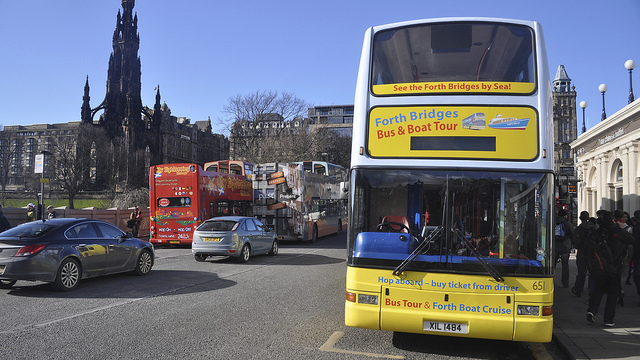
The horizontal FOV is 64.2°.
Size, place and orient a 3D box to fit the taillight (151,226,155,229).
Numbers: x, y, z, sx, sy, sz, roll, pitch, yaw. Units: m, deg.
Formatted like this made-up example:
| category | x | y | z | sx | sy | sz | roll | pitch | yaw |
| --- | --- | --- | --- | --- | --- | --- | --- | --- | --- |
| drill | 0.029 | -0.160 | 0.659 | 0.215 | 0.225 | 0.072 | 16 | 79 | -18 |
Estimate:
| category | x | y | z | sx | sy | sz | roll | pitch | yaw |
| --- | --- | --- | --- | --- | --- | --- | --- | --- | --- |
| taillight | -9.148 | 2.613 | 28.062 | 0.181 | 0.176 | 0.041 | 3 | -5 | -9 |

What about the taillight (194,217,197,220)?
| category | x | y | z | sx | sy | sz | roll | pitch | yaw |
| --- | --- | --- | --- | --- | --- | --- | --- | --- | --- |
| taillight | -6.667 | 2.111 | 27.466 | 0.158 | 0.156 | 0.084 | 4 | 21 | 5 |

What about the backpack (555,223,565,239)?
| category | x | y | z | sx | sy | sz | roll | pitch | yaw |
| --- | --- | --- | --- | --- | --- | --- | --- | --- | --- |
| backpack | 7.871 | 1.683 | 16.760 | 0.550 | 0.518 | 0.139 | -2 | 5 | -37 |

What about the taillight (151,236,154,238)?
| category | x | y | z | sx | sy | sz | roll | pitch | yaw |
| --- | --- | --- | --- | --- | --- | --- | --- | --- | --- |
| taillight | -9.204 | 3.151 | 28.189 | 0.177 | 0.095 | 0.120 | 5 | -1 | 14 |

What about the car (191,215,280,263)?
| category | x | y | z | sx | sy | sz | roll | pitch | yaw |
| --- | --- | --- | --- | --- | --- | --- | --- | --- | --- |
| car | -3.534 | 2.570 | 22.606 | 1.503 | 1.910 | 3.658 | 4 | 5 | 40 |

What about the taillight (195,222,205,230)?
| category | x | y | z | sx | sy | sz | roll | pitch | yaw |
| --- | --- | --- | --- | --- | --- | --- | --- | --- | --- |
| taillight | -5.233 | 1.974 | 22.226 | 0.354 | 0.275 | 0.603 | -1 | 4 | -24 |

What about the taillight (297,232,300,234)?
| category | x | y | z | sx | sy | sz | roll | pitch | yaw |
| --- | --- | --- | --- | --- | --- | --- | --- | --- | --- |
| taillight | -1.246 | 3.138 | 30.008 | 0.111 | 0.077 | 0.031 | 0 | 4 | -11 |
